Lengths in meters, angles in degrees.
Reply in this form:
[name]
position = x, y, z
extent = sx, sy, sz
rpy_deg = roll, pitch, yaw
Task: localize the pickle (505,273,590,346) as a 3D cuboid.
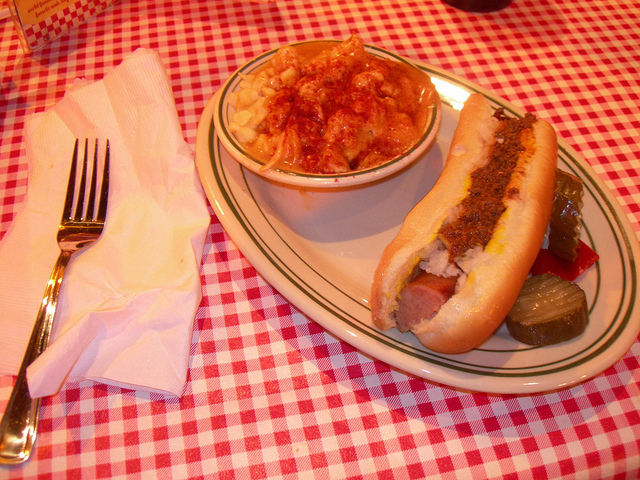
[pickle]
position = 0.952, 0.299, 2.285
extent = 0.293, 0.116, 0.298
rpy_deg = -30, 47, -5
